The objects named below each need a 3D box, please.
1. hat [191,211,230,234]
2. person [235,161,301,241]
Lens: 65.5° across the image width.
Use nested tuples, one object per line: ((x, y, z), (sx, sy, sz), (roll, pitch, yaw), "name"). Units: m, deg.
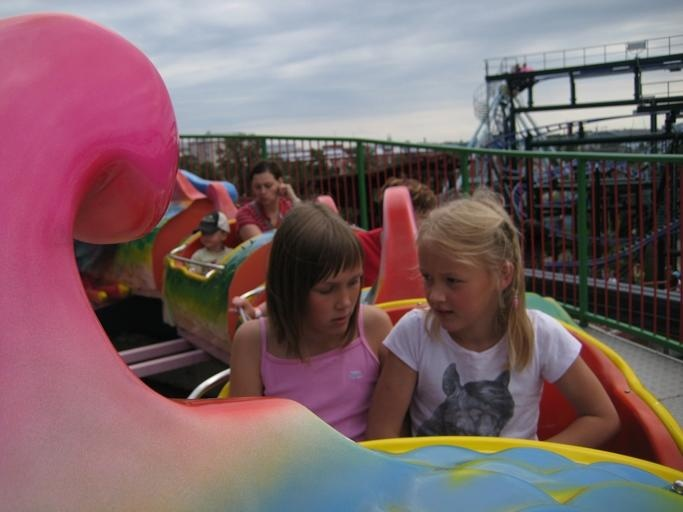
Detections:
((-1.001, -0.264, 4.221), (0.145, 0.130, 0.212), (1, 2, 39), "hat")
((-0.535, -0.340, 4.402), (0.616, 0.891, 0.501), (-3, 2, -8), "person")
